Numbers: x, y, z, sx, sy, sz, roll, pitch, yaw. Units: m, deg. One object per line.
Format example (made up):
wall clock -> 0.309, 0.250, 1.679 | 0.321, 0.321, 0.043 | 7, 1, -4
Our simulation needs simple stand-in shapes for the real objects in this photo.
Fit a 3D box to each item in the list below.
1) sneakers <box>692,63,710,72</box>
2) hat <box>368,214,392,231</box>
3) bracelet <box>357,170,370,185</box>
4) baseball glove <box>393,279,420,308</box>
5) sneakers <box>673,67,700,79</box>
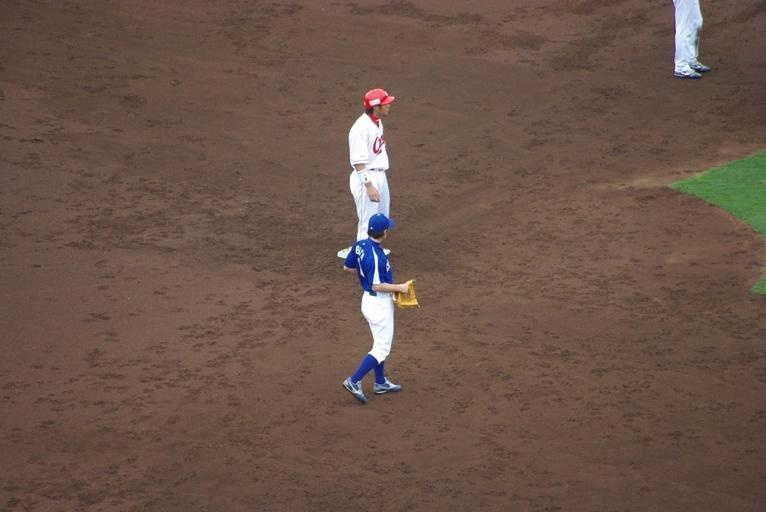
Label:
sneakers -> 6.478, -3.825, 23.998 | 0.474, 0.141, 0.128 | 3, 45, 5
hat -> -0.082, -0.504, 18.451 | 0.294, 0.189, 0.324 | 38, 82, 4
bracelet -> -0.310, -1.347, 20.092 | 0.230, 0.096, 0.229 | -22, 88, 8
baseball glove -> 0.373, 0.619, 18.997 | 0.638, 0.251, 0.457 | 2, 104, 28
sneakers -> 6.100, -3.702, 23.932 | 0.616, 0.189, 0.172 | 5, 28, 17
